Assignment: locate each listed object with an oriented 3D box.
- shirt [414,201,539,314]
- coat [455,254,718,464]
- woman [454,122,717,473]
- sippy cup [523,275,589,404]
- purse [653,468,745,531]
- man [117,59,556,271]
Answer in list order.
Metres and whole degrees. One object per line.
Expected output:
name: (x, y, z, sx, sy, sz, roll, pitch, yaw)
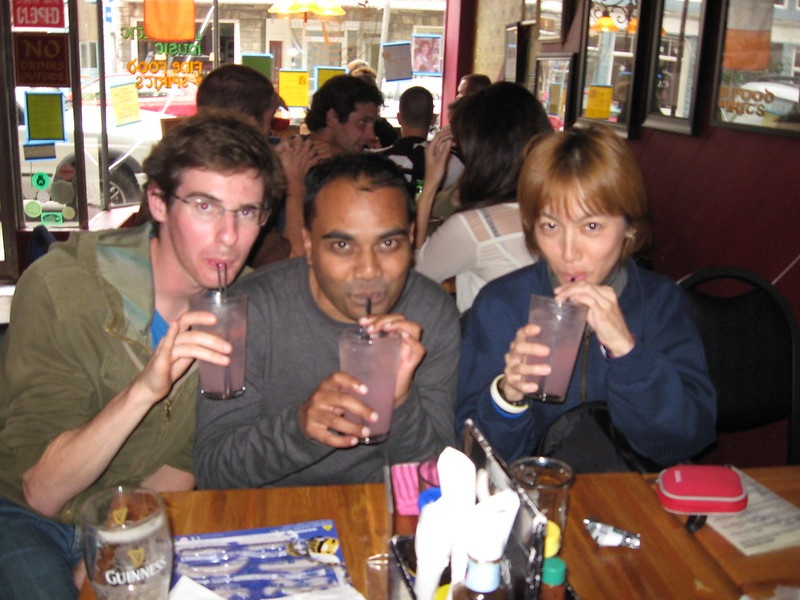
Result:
shirt: (0.403, -0.193, 3.206, 0.578, 0.535, 0.350, 0, 9, -37)
coat: (0.644, 0.315, 2.389, 0.820, 0.887, 0.580, -2, 27, 12)
woman: (0.642, -0.008, 2.122, 0.829, 1.096, 0.712, -6, 18, -25)
sippy cup: (0.465, 0.158, 1.925, 0.165, 0.343, 0.105, 5, 17, 14)
purse: (0.798, 0.522, 1.689, 0.175, 0.062, 0.133, -2, 13, 7)
man: (-0.378, -0.764, 3.397, 2.626, 0.555, 1.041, -1, 16, 4)
